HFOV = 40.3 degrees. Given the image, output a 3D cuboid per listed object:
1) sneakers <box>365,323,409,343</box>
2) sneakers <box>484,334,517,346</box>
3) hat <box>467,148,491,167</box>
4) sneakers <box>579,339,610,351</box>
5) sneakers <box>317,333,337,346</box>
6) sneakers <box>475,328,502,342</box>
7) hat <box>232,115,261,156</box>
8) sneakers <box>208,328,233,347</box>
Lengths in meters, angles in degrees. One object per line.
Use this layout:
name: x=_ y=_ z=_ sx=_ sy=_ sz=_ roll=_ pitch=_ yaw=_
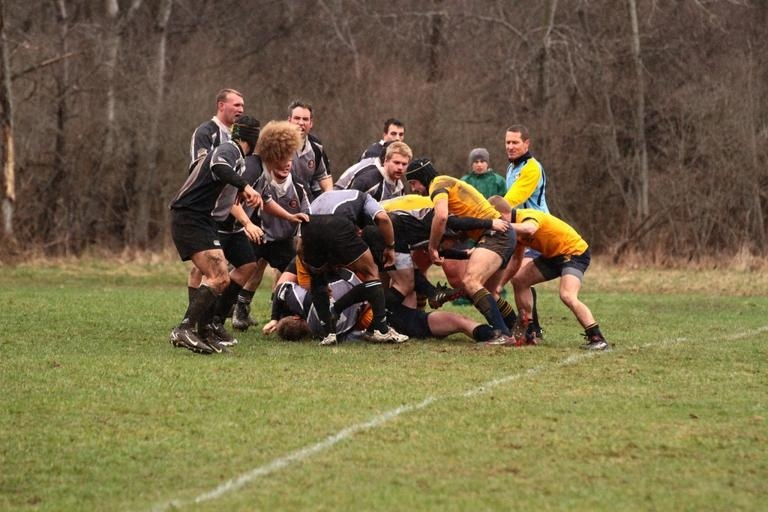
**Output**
sneakers: x=0.042 y=1.100 z=14.514 sx=0.613 sy=0.253 sz=0.224 roll=1 pitch=-2 yaw=-3
sneakers: x=1.632 y=1.182 z=14.523 sx=0.452 sy=0.195 sz=0.152 roll=1 pitch=0 yaw=-6
hat: x=1.651 y=-1.723 z=18.133 sx=0.414 sy=0.316 sz=0.426 roll=-3 pitch=-2 yaw=-4
sneakers: x=2.897 y=1.246 z=14.422 sx=0.406 sy=0.170 sz=0.143 roll=2 pitch=-4 yaw=1
sneakers: x=-0.761 y=1.182 z=14.453 sx=0.261 sy=0.153 sz=0.122 roll=-17 pitch=-23 yaw=18
sneakers: x=1.431 y=1.096 z=14.533 sx=0.235 sy=0.223 sz=0.208 roll=0 pitch=3 yaw=25
hat: x=-1.884 y=-1.649 z=14.301 sx=0.366 sy=0.529 sz=0.319 roll=0 pitch=8 yaw=-7
sneakers: x=-2.211 y=1.118 z=14.336 sx=0.442 sy=0.174 sz=0.149 roll=18 pitch=13 yaw=-1
